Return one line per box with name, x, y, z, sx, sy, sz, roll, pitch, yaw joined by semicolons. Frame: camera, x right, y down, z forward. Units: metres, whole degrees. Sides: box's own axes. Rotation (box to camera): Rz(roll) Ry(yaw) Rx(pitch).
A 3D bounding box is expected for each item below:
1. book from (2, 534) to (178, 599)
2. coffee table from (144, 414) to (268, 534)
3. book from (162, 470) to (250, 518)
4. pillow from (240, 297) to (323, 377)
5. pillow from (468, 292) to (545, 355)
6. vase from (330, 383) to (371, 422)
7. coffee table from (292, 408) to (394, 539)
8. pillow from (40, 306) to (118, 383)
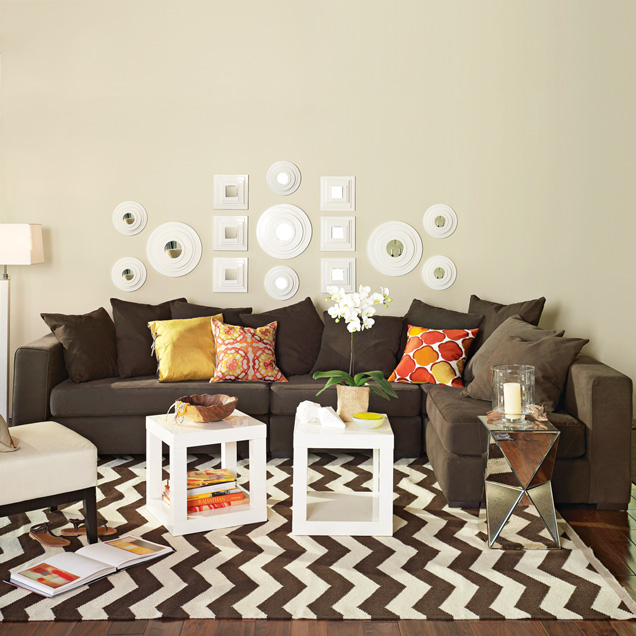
book;-0.933;0.957;2.495;0.369;0.045;0.555;4;6;42
coffee table;-0.622;0.701;3.031;0.584;0.488;0.559;1;-3;-32
book;-0.533;0.820;2.902;0.283;0.088;0.262;1;-3;-22
pillow;-0.444;0.185;4.589;0.759;0.664;0.184;-17;8;43
pillow;1.261;0.065;4.405;0.737;0.234;0.582;-3;13;1
vase;0.156;0.409;3.013;0.181;0.159;0.165;1;-3;6
coffee table;0.103;0.771;3.016;0.536;0.402;0.511;1;-5;7
pillow;-1.582;0.140;4.253;0.544;0.164;0.528;38;57;25
